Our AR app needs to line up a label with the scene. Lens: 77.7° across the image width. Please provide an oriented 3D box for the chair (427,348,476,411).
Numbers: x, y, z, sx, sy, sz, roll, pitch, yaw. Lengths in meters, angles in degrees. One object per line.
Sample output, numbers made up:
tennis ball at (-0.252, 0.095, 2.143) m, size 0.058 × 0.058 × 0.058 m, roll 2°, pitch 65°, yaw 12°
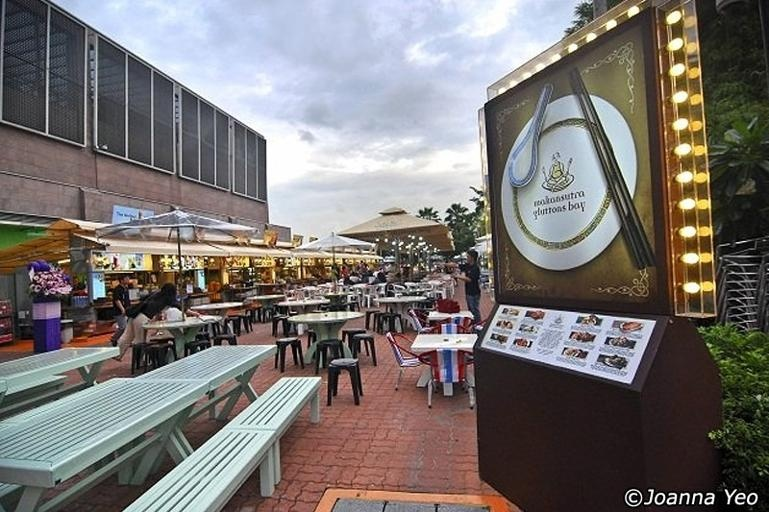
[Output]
chair at (1.052, 1.827, 7.617) m, size 0.881 × 1.094 × 0.843 m, roll 1°, pitch 16°, yaw 5°

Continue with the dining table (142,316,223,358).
dining table at (-4.095, 1.553, 9.803) m, size 1.180 × 0.726 × 1.157 m, roll 0°, pitch 3°, yaw 6°

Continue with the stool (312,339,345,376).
stool at (-1.122, 1.968, 9.285) m, size 0.678 × 0.626 × 0.662 m, roll -1°, pitch -6°, yaw 1°

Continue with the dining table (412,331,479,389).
dining table at (0.939, 1.801, 7.638) m, size 1.111 × 0.653 × 1.092 m, roll 0°, pitch -1°, yaw 5°

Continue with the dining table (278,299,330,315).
dining table at (-2.420, 1.549, 14.574) m, size 0.914 × 0.285 × 0.902 m, roll 0°, pitch 0°, yaw 14°

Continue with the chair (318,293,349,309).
chair at (-1.529, 1.510, 14.896) m, size 0.686 × 0.695 × 0.687 m, roll -1°, pitch 1°, yaw 25°

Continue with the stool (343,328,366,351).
stool at (-0.548, 1.818, 10.503) m, size 0.650 × 0.595 × 0.635 m, roll 1°, pitch -2°, yaw -12°

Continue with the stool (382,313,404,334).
stool at (0.258, 1.875, 13.115) m, size 0.570 × 0.479 × 0.557 m, roll -1°, pitch -4°, yaw 0°

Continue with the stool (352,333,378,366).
stool at (-0.364, 1.913, 9.791) m, size 0.661 × 0.640 × 0.645 m, roll 0°, pitch -4°, yaw -22°

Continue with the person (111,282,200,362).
person at (-5.071, 1.472, 10.586) m, size 1.282 × 1.688 × 0.881 m, roll 15°, pitch -3°, yaw -21°

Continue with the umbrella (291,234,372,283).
umbrella at (-3.207, 0.314, 27.195) m, size 3.285 × 2.220 × 3.184 m, roll -5°, pitch 8°, yaw -39°

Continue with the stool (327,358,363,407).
stool at (-0.625, 2.003, 7.737) m, size 0.572 × 0.746 × 0.692 m, roll 2°, pitch 9°, yaw -2°
